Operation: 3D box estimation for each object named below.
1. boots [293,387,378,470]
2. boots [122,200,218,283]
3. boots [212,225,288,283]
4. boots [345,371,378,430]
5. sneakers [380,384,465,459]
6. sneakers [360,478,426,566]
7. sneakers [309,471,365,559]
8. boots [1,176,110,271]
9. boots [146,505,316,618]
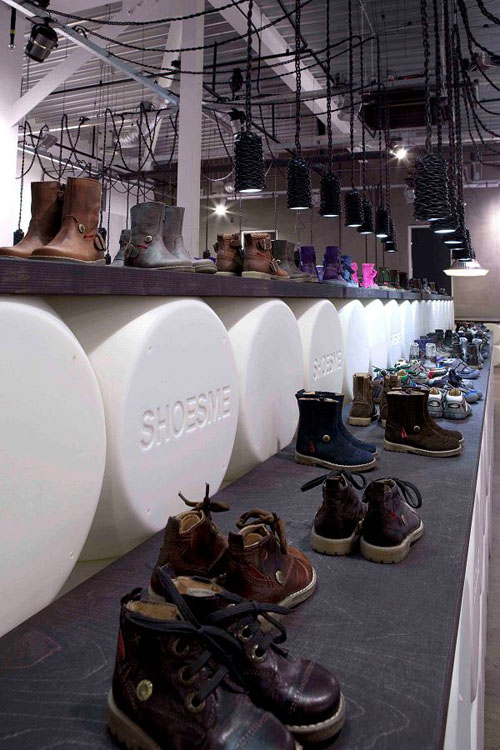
[{"bbox_3d":[0.246,0.171,1.712,0.303,0.306,0.156,1,7,11],"label":"boots"},{"bbox_3d":[-0.217,-0.346,1.413,0.232,0.187,0.184,5,9,15],"label":"boots"},{"bbox_3d":[-0.003,-0.456,2.029,0.118,0.139,0.327,2,8,18],"label":"boots"},{"bbox_3d":[0.523,0.086,2.492,0.112,0.229,0.309,3,10,18],"label":"boots"},{"bbox_3d":[0.574,0.175,1.868,0.307,0.271,0.157,-1,6,14],"label":"sneakers"},{"bbox_3d":[0.310,0.301,1.161,0.094,0.143,0.218,-1,0,17],"label":"sneakers"},{"bbox_3d":[0.180,0.296,1.094,0.082,0.112,0.182,-1,1,11],"label":"sneakers"},{"bbox_3d":[-0.404,-0.287,1.183,0.203,0.225,0.244,7,9,32],"label":"boots"},{"bbox_3d":[-0.023,0.255,0.839,0.144,0.108,0.225,5,-5,24],"label":"boots"}]
